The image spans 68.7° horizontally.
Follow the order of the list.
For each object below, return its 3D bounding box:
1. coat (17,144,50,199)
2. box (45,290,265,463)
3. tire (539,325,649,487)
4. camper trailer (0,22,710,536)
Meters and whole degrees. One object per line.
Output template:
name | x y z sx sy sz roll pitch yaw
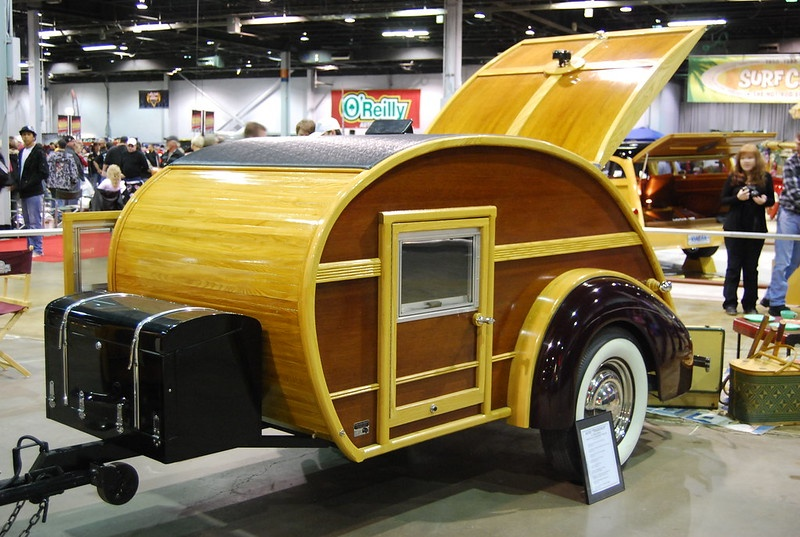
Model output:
coat | -7.093 -1.932 11.304 0.840 0.970 0.580 13 14 38
box | -1.348 0.532 3.301 1.238 0.680 0.755 3 7 38
tire | 1.272 0.900 3.871 0.397 1.163 1.161 4 -2 45
camper trailer | -0.163 -0.357 4.552 5.083 2.724 2.792 -4 6 -37
